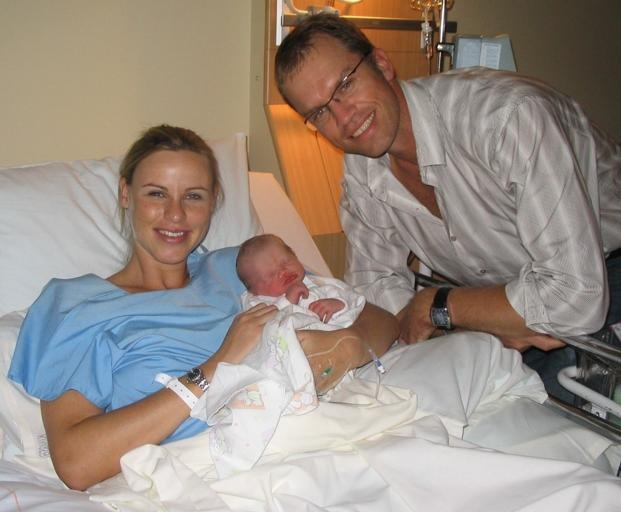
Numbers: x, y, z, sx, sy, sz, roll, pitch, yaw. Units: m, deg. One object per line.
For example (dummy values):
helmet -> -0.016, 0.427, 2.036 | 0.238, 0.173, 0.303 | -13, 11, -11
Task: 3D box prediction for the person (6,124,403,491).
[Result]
person -> -0.383, 0.189, 1.975 | 0.553, 0.913, 1.014 | -27, 3, 38
